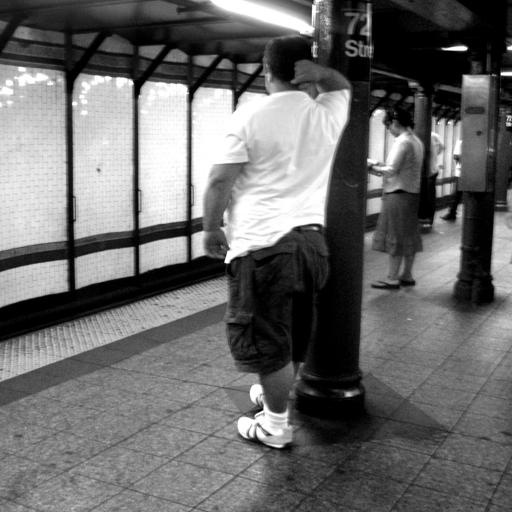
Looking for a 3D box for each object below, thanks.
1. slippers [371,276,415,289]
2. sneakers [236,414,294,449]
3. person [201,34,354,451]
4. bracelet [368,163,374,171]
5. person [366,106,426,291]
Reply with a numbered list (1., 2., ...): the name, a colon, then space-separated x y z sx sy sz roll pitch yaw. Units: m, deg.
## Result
1. slippers: 1.909 0.406 7.301 0.595 0.221 0.226 3 3 8
2. sneakers: 0.039 0.909 2.814 0.314 0.131 0.134 21 31 40
3. person: 0.103 -0.028 2.564 0.749 2.076 0.408 -2 5 -18
4. bracelet: 1.184 -0.915 5.432 0.086 0.080 0.062 4 7 34
5. person: 1.885 -0.760 7.160 0.546 2.446 0.830 5 7 42
